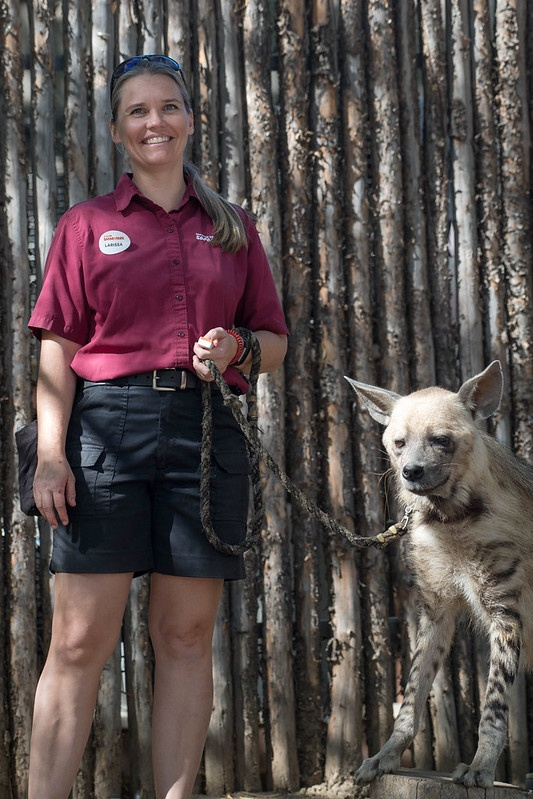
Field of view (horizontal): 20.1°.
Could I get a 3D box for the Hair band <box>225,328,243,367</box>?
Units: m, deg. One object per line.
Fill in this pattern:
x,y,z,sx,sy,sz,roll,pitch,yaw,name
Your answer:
-0.110,-0.203,5.646,0.045,0.110,0.088,-16,-51,41,Hair band

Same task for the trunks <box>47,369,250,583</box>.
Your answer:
-0.461,0.278,5.531,0.609,0.640,0.371,7,-19,-13,trunks

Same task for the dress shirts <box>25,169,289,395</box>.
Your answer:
-0.402,-0.494,5.753,0.993,0.864,0.423,-2,-10,-15,dress shirts
